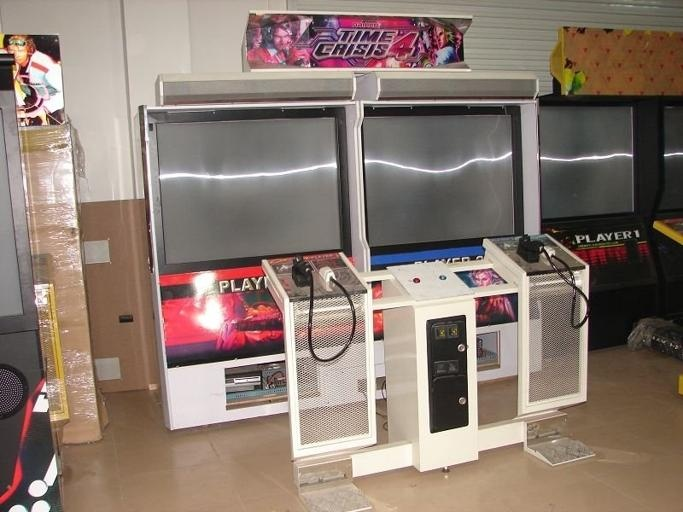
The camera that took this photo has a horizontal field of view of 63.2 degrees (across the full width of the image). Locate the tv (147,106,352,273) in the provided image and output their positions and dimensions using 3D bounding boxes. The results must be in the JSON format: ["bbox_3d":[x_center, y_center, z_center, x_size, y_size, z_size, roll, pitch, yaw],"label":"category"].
[{"bbox_3d":[-0.756,-0.525,4.178,1.334,0.967,0.100,-4,2,-19],"label":"tv"}]

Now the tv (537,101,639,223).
[{"bbox_3d":[2.350,-0.939,5.357,1.282,1.128,0.439,-2,0,-18],"label":"tv"}]

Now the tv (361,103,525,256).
[{"bbox_3d":[0.777,-0.647,4.560,1.344,1.049,0.459,-1,0,-17],"label":"tv"}]
